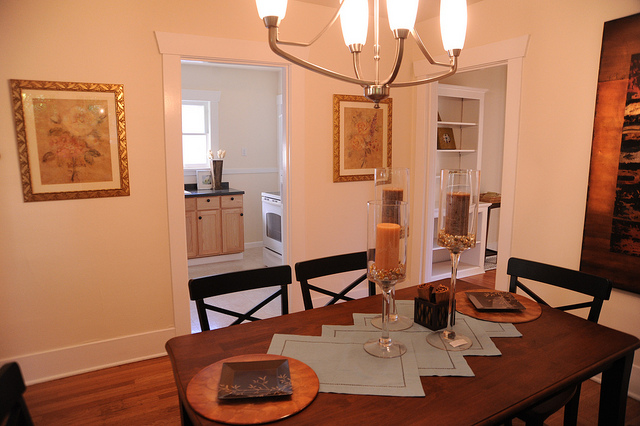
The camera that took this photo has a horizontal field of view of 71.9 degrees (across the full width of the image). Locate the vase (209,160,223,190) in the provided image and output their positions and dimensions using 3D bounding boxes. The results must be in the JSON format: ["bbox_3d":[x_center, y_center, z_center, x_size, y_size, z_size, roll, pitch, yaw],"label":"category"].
[{"bbox_3d":[-1.527,-0.559,6.506,0.164,0.442,0.241,-5,11,-18],"label":"vase"}]

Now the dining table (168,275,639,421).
[{"bbox_3d":[0.557,0.809,2.469,2.471,0.837,0.933,-2,10,-2],"label":"dining table"}]

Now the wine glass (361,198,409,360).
[{"bbox_3d":[0.348,0.330,2.392,0.248,0.835,0.340,0,11,9],"label":"wine glass"}]

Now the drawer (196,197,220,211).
[{"bbox_3d":[-1.575,-0.133,6.232,0.282,0.157,0.175,-3,5,-33],"label":"drawer"}]

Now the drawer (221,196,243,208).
[{"bbox_3d":[-1.295,-0.161,6.378,0.192,0.112,0.190,-2,3,-33],"label":"drawer"}]

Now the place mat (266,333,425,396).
[{"bbox_3d":[0.116,0.782,2.316,0.796,0.143,0.396,-1,9,3],"label":"place mat"}]

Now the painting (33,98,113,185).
[{"bbox_3d":[-2.038,-0.595,3.581,0.737,0.922,0.047,-3,10,-28],"label":"painting"}]

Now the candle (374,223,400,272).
[{"bbox_3d":[0.329,0.193,2.304,0.166,0.257,0.164,1,-6,1],"label":"candle"}]
